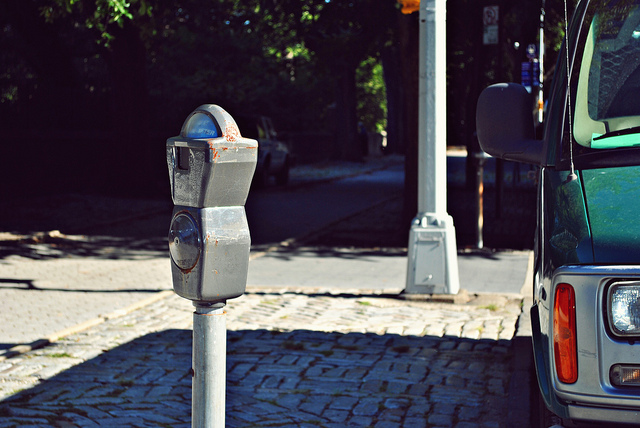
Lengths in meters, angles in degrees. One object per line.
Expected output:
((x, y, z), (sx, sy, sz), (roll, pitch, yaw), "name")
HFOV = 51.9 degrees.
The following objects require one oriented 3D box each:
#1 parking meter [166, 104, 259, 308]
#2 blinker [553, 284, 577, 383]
((-0.640, -0.037, 3.844), (0.419, 1.189, 0.481), (-3, 8, -36), "parking meter")
((1.253, 0.619, 3.379), (0.041, 0.510, 0.145), (-7, 9, -41), "blinker")
